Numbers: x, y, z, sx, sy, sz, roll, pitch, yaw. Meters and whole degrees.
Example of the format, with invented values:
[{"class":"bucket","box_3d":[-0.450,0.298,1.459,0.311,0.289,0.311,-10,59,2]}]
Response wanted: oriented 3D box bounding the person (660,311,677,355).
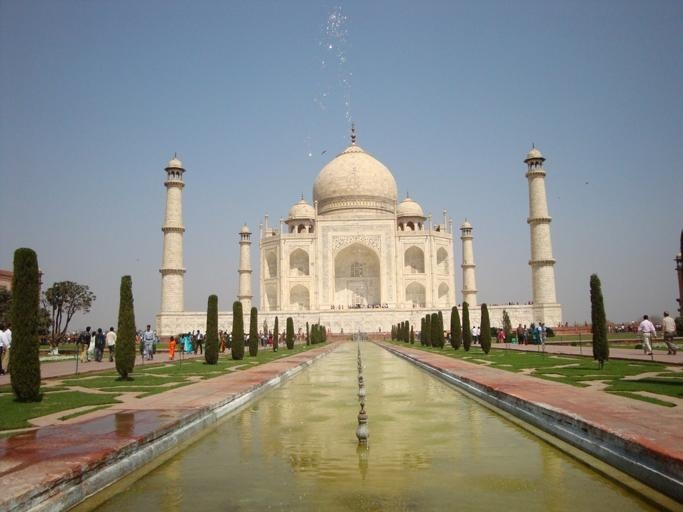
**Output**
[{"class":"person","box_3d":[8.131,1.931,14.041,0.274,0.990,2.475,-6,-9,29]}]
